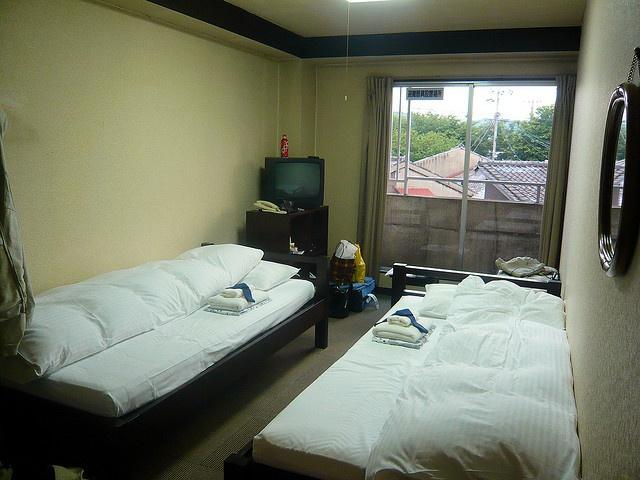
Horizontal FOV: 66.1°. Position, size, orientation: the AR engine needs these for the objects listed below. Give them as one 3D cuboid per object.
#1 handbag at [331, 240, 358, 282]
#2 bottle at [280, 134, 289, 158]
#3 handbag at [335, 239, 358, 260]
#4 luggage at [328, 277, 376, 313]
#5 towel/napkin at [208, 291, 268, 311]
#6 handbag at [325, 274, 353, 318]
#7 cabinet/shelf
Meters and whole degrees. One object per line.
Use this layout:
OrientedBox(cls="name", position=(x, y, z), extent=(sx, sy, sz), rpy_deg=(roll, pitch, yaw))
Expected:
OrientedBox(cls="handbag", position=(0.233, 0.257, 5.416), extent=(0.285, 0.525, 0.366), rpy_deg=(4, 3, -9))
OrientedBox(cls="bottle", position=(-0.413, -1.083, 5.617), extent=(0.102, 0.253, 0.201), rpy_deg=(0, 13, -5))
OrientedBox(cls="handbag", position=(0.270, 0.099, 5.278), extent=(0.205, 0.225, 0.170), rpy_deg=(6, -6, 24))
OrientedBox(cls="luggage", position=(0.230, 0.557, 5.423), extent=(0.652, 0.226, 0.665), rpy_deg=(5, 12, 19))
OrientedBox(cls="towel/napkin", position=(-0.582, 0.446, 3.604), extent=(0.176, 0.056, 0.228), rpy_deg=(4, 9, 24))
OrientedBox(cls="handbag", position=(0.191, 0.564, 5.301), extent=(0.298, 0.535, 0.421), rpy_deg=(1, 4, 17))
OrientedBox(cls="cabinet/shelf", position=(-0.287, 0.110, 5.556), extent=(0.374, 1.000, 1.080), rpy_deg=(8, 13, 23))
